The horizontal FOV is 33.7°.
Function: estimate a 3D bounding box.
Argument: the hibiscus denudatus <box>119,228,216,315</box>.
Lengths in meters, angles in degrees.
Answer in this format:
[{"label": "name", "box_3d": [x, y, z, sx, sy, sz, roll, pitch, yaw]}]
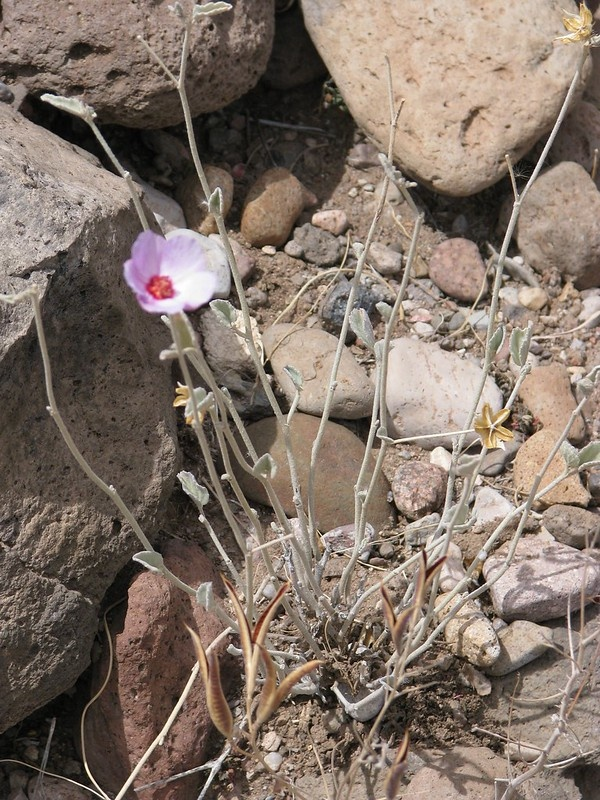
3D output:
[{"label": "hibiscus denudatus", "box_3d": [-0.220, -0.217, 1.691, 0.138, 0.110, 0.199, -6, 58, 6]}]
